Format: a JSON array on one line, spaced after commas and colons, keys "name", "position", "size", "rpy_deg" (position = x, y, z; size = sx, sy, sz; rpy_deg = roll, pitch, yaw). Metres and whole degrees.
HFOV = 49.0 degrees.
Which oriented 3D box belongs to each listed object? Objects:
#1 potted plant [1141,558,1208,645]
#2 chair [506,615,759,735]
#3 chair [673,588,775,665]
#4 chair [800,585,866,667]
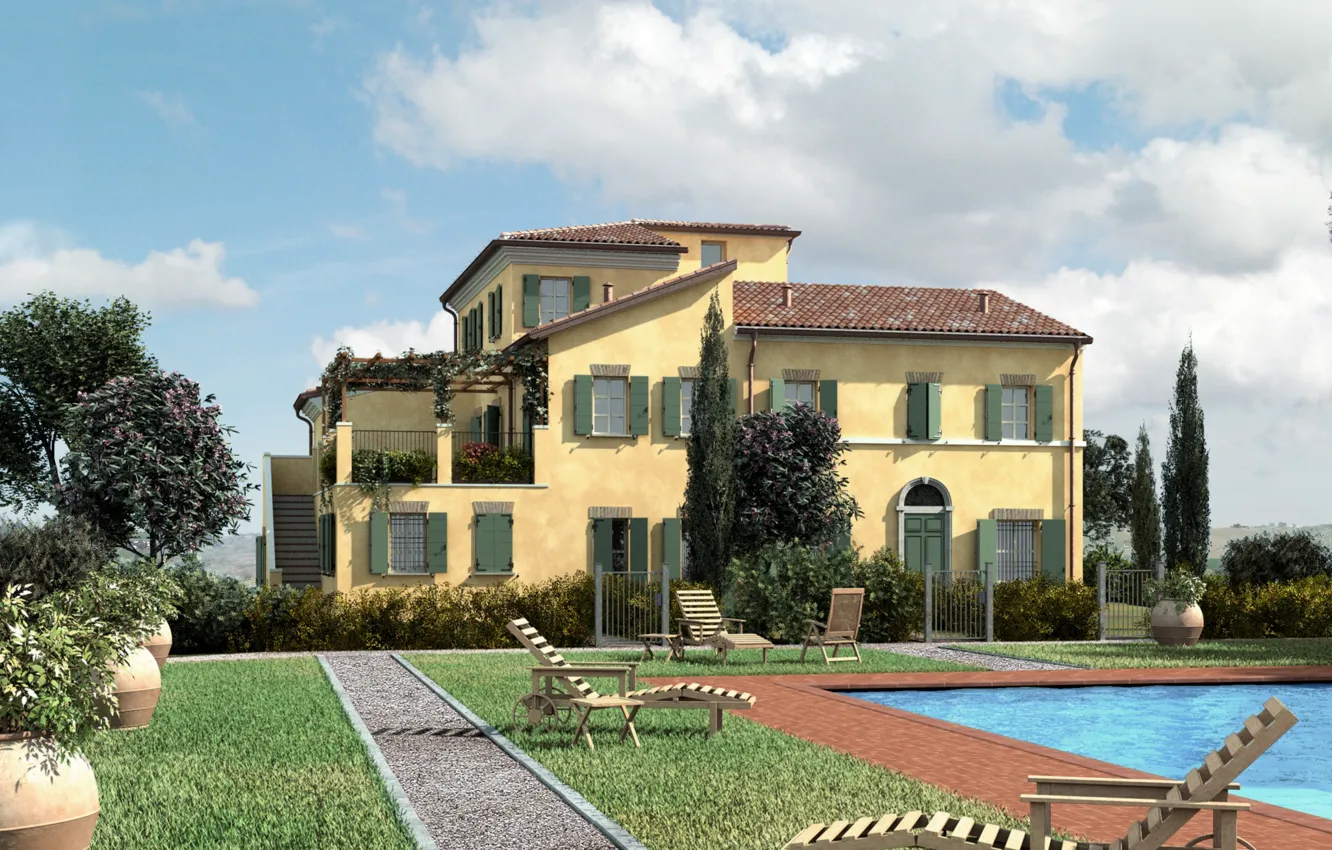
[{"name": "potted plant", "position": [11.836, 4.275, 33.871], "size": [1.303, 1.806, 1.377], "rpy_deg": [0, -7, -2]}, {"name": "chair", "position": [-0.703, 3.952, 22.009], "size": [3.520, 1.838, 1.688], "rpy_deg": [-1, -1, 2]}, {"name": "chair", "position": [1.159, 4.209, 30.182], "size": [1.069, 1.330, 2.212], "rpy_deg": [5, -7, -32]}, {"name": "chair", "position": [3.397, 4.086, 29.882], "size": [0.924, 1.569, 1.106], "rpy_deg": [2, 1, -25]}]
